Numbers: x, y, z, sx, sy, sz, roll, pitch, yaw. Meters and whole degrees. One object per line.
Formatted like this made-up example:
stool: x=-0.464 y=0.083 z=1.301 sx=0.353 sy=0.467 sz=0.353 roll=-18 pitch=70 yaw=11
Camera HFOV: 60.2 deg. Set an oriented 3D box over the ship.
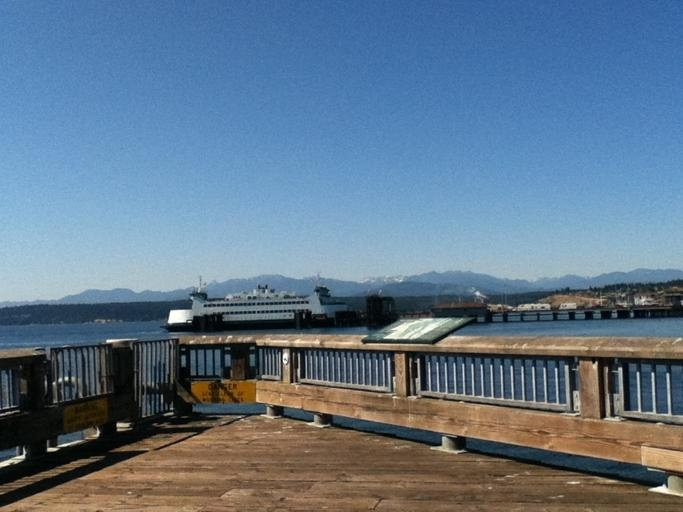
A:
ship: x=-18.144 y=11.844 z=136.845 sx=39.423 sy=10.885 sz=36.922 roll=0 pitch=-5 yaw=0
